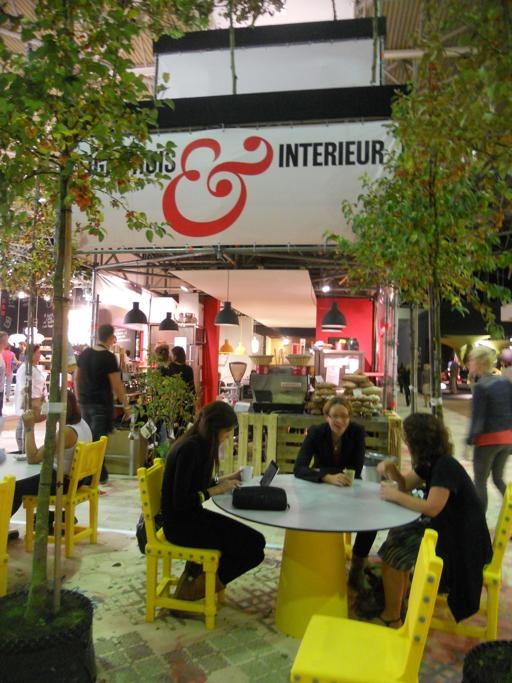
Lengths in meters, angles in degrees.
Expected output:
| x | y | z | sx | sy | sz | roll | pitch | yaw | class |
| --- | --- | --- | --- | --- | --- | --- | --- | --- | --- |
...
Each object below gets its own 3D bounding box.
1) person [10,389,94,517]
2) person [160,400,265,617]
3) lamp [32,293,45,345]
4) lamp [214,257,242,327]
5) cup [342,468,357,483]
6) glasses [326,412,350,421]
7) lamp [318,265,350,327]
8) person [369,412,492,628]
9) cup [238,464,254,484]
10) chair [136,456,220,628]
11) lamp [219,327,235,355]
| x | y | z | sx | sy | sz | roll | pitch | yaw | class |
| --- | --- | --- | --- | --- | --- | --- | --- | --- | --- |
| -1.486 | 0.888 | 3.757 | 0.622 | 1.093 | 0.398 | 2 | 3 | -6 | person |
| -0.226 | 0.925 | 2.936 | 0.581 | 1.077 | 0.462 | -1 | -1 | 7 | person |
| -5.448 | -0.593 | 13.089 | 0.177 | 1.410 | 0.191 | -19 | -36 | 21 | lamp |
| -0.450 | -0.849 | 8.717 | 0.424 | 1.173 | 0.418 | 5 | -7 | -22 | lamp |
| 0.571 | 0.815 | 3.176 | 0.076 | 0.081 | 0.079 | 5 | -1 | 0 | cup |
| 0.530 | 0.492 | 3.377 | 0.136 | 0.065 | 0.093 | 1 | -2 | 12 | glasses |
| 1.797 | -0.913 | 12.161 | 0.843 | 1.386 | 0.772 | 3 | -6 | 2 | lamp |
| 0.884 | 0.893 | 2.590 | 0.516 | 1.025 | 0.480 | 4 | -10 | 9 | person |
| -0.058 | 0.766 | 3.056 | 0.059 | 0.094 | 0.096 | 0 | -4 | -5 | cup |
| -0.419 | 1.095 | 3.001 | 0.469 | 0.858 | 0.736 | 1 | -2 | -8 | chair |
| -0.697 | 0.024 | 12.383 | 0.473 | 0.535 | 0.506 | -2 | -6 | 0 | lamp |
